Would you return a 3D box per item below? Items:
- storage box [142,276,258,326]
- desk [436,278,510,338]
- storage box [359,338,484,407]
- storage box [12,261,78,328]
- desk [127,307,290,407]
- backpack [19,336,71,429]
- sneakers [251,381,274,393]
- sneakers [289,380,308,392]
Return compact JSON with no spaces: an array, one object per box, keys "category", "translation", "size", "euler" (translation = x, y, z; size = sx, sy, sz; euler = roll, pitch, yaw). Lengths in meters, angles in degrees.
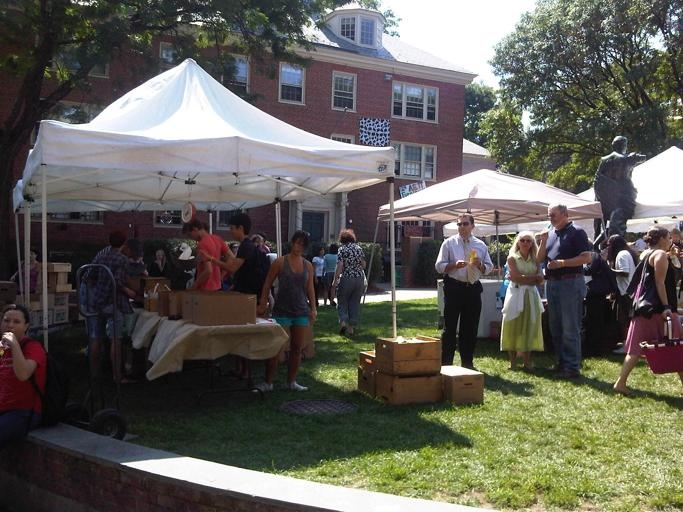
[{"category":"storage box","translation":[-2.058,0.690,10.228],"size":[0.748,0.563,1.988],"euler":[2,-1,-40]},{"category":"desk","translation":[2.382,0.698,14.006],"size":[1.443,1.621,1.104],"euler":[3,4,28]},{"category":"storage box","translation":[1.110,1.633,10.103],"size":[1.025,0.698,1.073],"euler":[2,-4,-21]},{"category":"storage box","translation":[-5.525,0.743,13.456],"size":[0.589,1.323,1.348],"euler":[2,0,1]},{"category":"desk","translation":[-1.884,1.208,9.827],"size":[2.228,0.903,1.392],"euler":[2,-1,5]},{"category":"backpack","translation":[-3.272,1.493,8.167],"size":[0.279,0.999,0.446],"euler":[1,-1,41]},{"category":"sneakers","translation":[-1.129,1.895,10.443],"size":[0.261,0.144,0.151],"euler":[7,-7,-19]},{"category":"sneakers","translation":[-0.615,1.915,10.629],"size":[0.310,0.153,0.115],"euler":[0,1,6]}]
